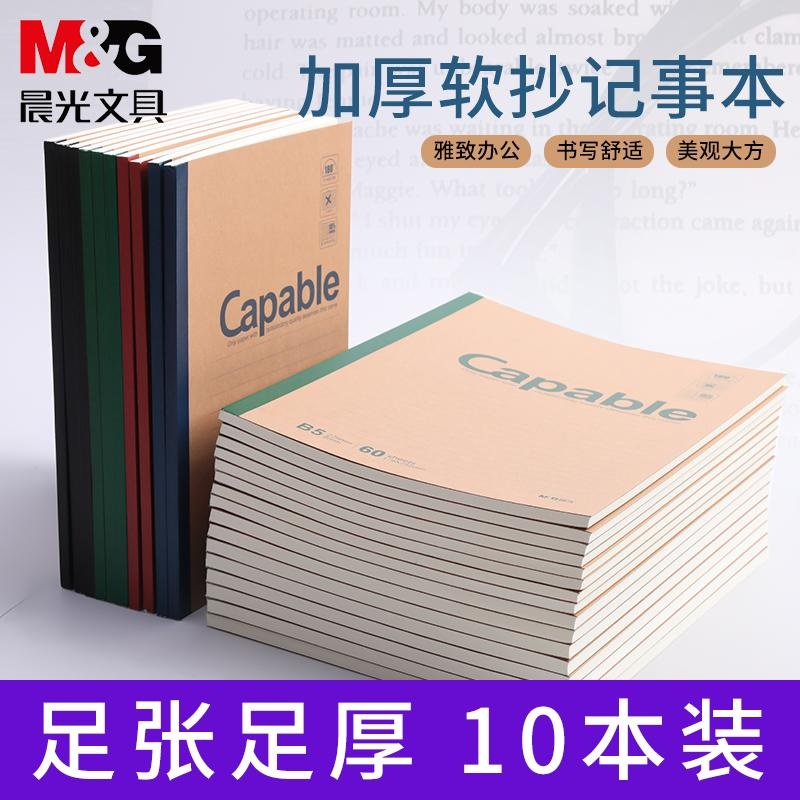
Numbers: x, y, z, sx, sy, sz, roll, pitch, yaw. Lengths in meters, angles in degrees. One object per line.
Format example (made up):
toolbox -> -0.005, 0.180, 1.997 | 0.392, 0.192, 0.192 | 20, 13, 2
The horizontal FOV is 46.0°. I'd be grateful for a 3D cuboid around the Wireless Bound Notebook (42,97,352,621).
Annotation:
Wireless Bound Notebook -> -0.140, -0.072, 0.791 | 0.096, 0.256, 0.273 | 10, 18, 19
